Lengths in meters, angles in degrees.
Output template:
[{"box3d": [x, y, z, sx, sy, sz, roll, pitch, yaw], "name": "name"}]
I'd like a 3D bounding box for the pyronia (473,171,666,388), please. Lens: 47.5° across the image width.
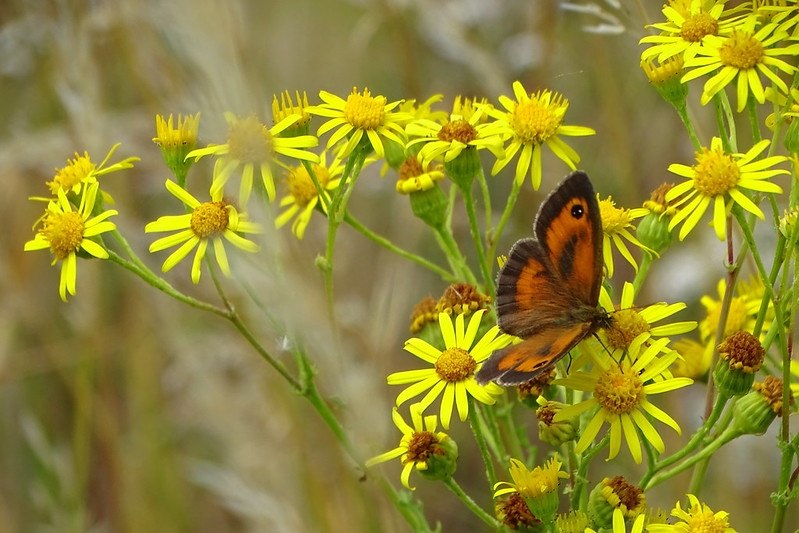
[{"box3d": [0.231, 0.058, 1.326, 0.199, 0.120, 0.386, 10, 60, 26], "name": "pyronia"}]
